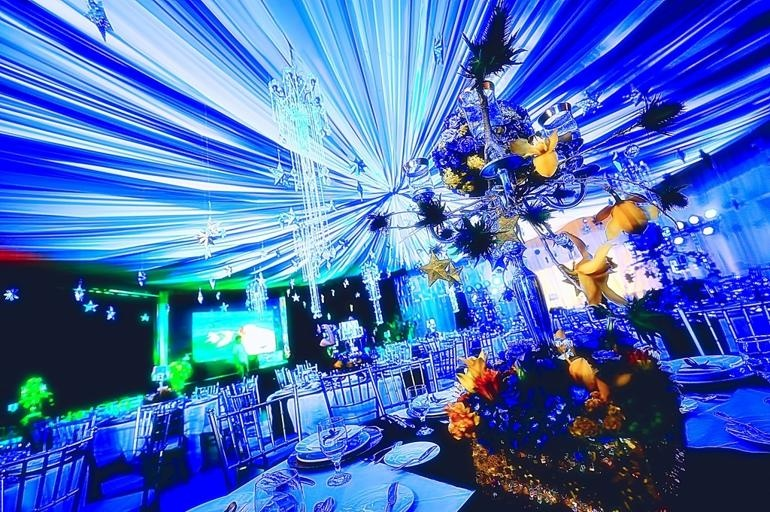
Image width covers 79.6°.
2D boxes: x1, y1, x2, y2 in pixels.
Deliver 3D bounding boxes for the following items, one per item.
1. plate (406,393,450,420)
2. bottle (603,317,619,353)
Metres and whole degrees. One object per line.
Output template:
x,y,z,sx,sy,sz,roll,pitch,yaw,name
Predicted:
0.606,2.131,6.595,0.689,0.088,0.686,-4,-8,-40,plate
2.328,0.802,4.726,0.163,0.333,0.094,-22,-18,32,bottle
